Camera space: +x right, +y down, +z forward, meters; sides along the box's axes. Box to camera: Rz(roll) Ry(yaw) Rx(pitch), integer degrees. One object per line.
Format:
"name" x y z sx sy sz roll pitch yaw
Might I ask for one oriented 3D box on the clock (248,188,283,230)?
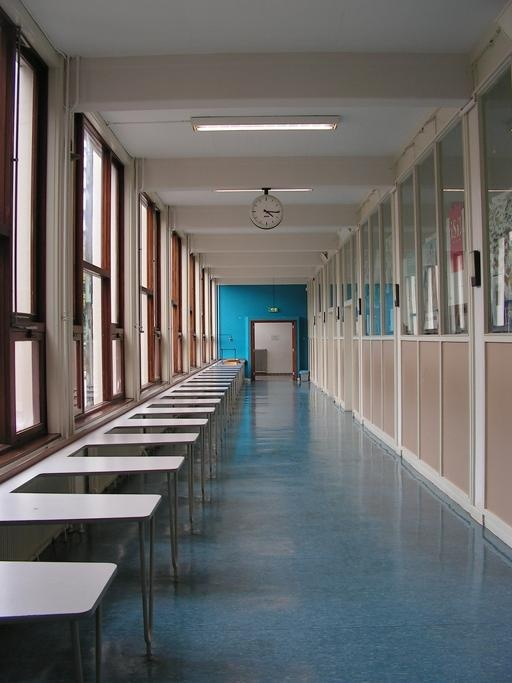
"clock" 0.137 -1.743 7.180 0.380 0.532 0.326 1 2 -21

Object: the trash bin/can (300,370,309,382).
"trash bin/can" 1.639 1.178 18.724 0.365 0.388 0.279 -1 -6 -1
